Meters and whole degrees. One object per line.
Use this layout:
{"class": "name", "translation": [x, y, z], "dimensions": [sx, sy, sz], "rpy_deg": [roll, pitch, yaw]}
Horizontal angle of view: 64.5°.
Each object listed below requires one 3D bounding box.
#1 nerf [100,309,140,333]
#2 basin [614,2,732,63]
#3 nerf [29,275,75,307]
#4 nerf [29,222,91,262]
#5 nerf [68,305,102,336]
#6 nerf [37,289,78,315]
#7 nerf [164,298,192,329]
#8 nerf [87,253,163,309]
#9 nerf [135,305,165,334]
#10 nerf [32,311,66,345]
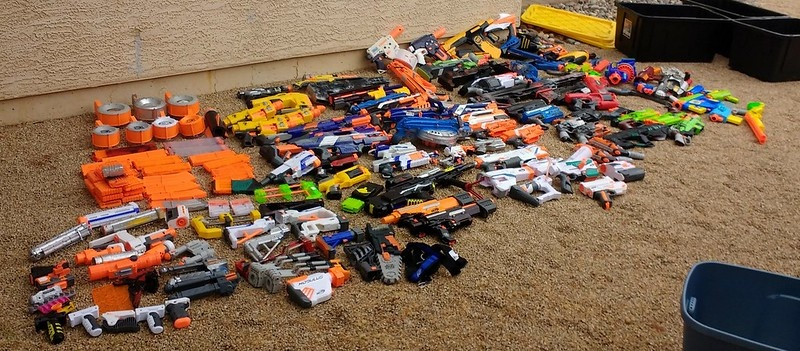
{"class": "nerf", "translation": [-3.407, 1.792, 7.748], "dimensions": [0.422, 0.118, 0.231], "rpy_deg": [-4, 56, -10]}
{"class": "basin", "translation": [4.773, -2.614, 11.679], "dimensions": [1.934, 0.711, 1.091], "rpy_deg": [-3, 32, -8]}
{"class": "nerf", "translation": [-4.290, 1.448, 7.945], "dimensions": [0.513, 0.176, 0.252], "rpy_deg": [-22, 63, -22]}
{"class": "nerf", "translation": [-4.359, 0.851, 8.340], "dimensions": [0.959, 0.242, 0.266], "rpy_deg": [-23, 31, -19]}
{"class": "nerf", "translation": [-3.818, 1.761, 7.722], "dimensions": [0.412, 0.140, 0.376], "rpy_deg": [-14, 39, -34]}
{"class": "nerf", "translation": [-4.164, 1.573, 7.845], "dimensions": [0.278, 0.069, 0.245], "rpy_deg": [8, 42, 36]}
{"class": "nerf", "translation": [-2.733, 1.706, 7.831], "dimensions": [0.297, 0.257, 0.306], "rpy_deg": [-10, 36, -5]}
{"class": "nerf", "translation": [-3.447, 1.350, 8.008], "dimensions": [0.846, 0.244, 0.592], "rpy_deg": [-2, 50, -19]}
{"class": "nerf", "translation": [-3.010, 1.754, 7.830], "dimensions": [0.373, 0.122, 0.385], "rpy_deg": [38, 37, 26]}
{"class": "nerf", "translation": [-4.215, 1.836, 7.705], "dimensions": [0.415, 0.354, 0.357], "rpy_deg": [4, 41, -43]}
